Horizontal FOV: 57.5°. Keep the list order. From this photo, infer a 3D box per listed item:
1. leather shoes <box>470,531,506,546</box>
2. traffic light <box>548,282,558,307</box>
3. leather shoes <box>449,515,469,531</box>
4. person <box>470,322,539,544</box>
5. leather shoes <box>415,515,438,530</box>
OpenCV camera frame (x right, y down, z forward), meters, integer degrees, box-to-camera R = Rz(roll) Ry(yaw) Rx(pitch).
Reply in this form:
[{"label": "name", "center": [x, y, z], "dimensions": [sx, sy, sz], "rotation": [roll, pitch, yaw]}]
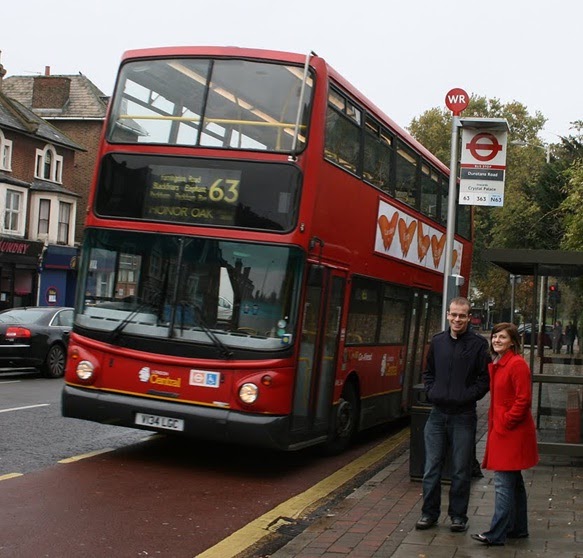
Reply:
[{"label": "leather shoes", "center": [1.261, 1.668, 3.438], "dimensions": [0.229, 0.068, 0.079], "rotation": [-2, -7, 33]}, {"label": "traffic light", "center": [3.651, 0.217, 7.364], "dimensions": [0.143, 0.314, 0.205], "rotation": [-4, -13, 25]}, {"label": "leather shoes", "center": [1.215, 1.774, 3.881], "dimensions": [0.073, 0.077, 0.210], "rotation": [-4, -10, 18]}, {"label": "person", "center": [1.442, 1.022, 3.636], "dimensions": [0.413, 1.462, 0.487], "rotation": [-3, -13, 22]}, {"label": "leather shoes", "center": [0.983, 1.779, 3.911], "dimensions": [0.072, 0.069, 0.202], "rotation": [-7, -13, 29]}]
